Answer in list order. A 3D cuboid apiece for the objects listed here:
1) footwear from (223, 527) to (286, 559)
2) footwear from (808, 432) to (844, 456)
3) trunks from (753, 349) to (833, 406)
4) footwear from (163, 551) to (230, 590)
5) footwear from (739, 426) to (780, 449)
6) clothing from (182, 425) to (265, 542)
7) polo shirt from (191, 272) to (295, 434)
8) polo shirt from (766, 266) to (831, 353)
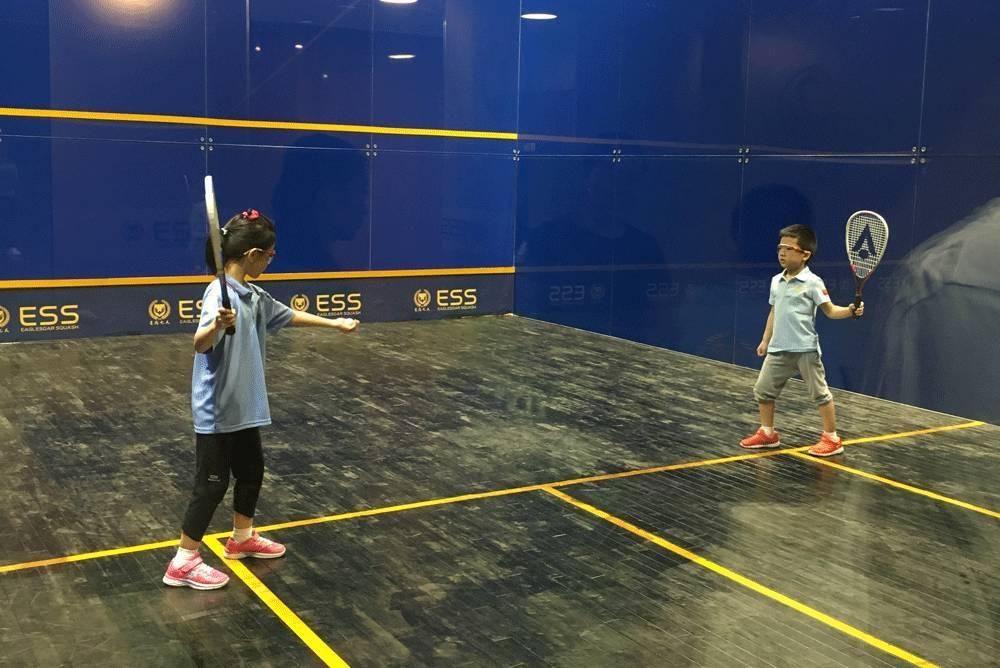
[{"bbox_3d":[-1.526,1.346,4.289,0.452,0.199,0.158,1,6,-19],"label":"footwear"},{"bbox_3d":[3.034,1.009,6.199,0.344,0.196,0.170,-6,8,-8],"label":"footwear"},{"bbox_3d":[2.943,0.445,6.636,0.689,0.641,0.258,2,0,40],"label":"trunks"},{"bbox_3d":[-1.749,1.372,3.916,0.411,0.205,0.174,3,7,-5],"label":"footwear"},{"bbox_3d":[2.460,0.974,6.352,0.446,0.215,0.173,-1,6,-2],"label":"footwear"},{"bbox_3d":[-1.623,0.854,3.882,0.223,0.638,0.437,7,13,28],"label":"clothing"},{"bbox_3d":[-1.544,0.104,3.850,0.441,0.913,0.676,4,12,14],"label":"polo shirt"},{"bbox_3d":[2.748,-0.213,6.127,0.469,0.774,0.300,6,12,22],"label":"polo shirt"}]
